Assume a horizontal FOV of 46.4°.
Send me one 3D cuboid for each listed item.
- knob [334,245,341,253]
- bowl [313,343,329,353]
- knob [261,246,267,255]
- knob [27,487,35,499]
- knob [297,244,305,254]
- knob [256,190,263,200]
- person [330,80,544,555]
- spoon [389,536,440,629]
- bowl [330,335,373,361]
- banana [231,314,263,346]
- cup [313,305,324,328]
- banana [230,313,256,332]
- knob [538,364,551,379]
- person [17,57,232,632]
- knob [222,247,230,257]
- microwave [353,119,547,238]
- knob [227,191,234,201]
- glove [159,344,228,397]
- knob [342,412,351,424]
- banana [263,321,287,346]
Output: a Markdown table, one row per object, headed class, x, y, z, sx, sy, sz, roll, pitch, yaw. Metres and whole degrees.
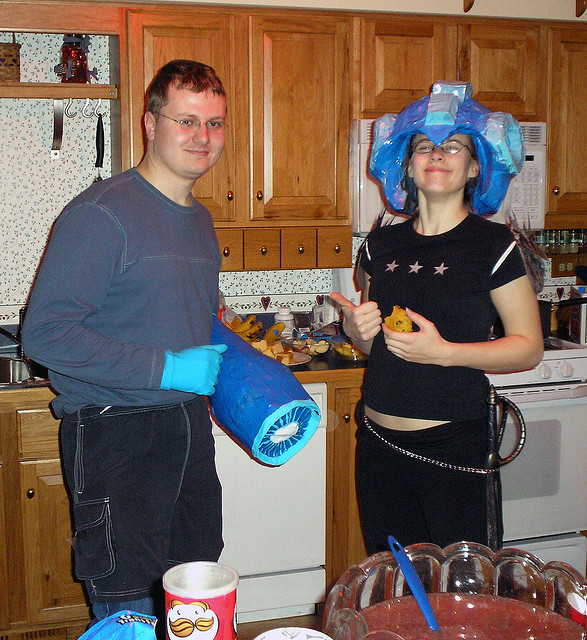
| class | x | y | z | sx | sy | sz | roll | pitch | yaw |
| --- | --- | --- | --- | --- | --- | --- | --- | --- | --- |
| knob | 0.172 | -0.277 | 2.683 | 0.027 | 0.025 | 0.025 | 2 | 0 | -7 |
| bowl | 0.106 | 0.107 | 2.560 | 0.033 | 0.039 | 0.070 | 2 | 5 | 41 |
| knob | -0.112 | -0.264 | 2.603 | 0.022 | 0.027 | 0.008 | -6 | 11 | -15 |
| knob | -0.834 | 0.551 | 2.172 | 0.029 | 0.026 | 0.026 | -3 | 4 | -28 |
| knob | 0.028 | -0.274 | 2.643 | 0.024 | 0.031 | 0.010 | 2 | 5 | -8 |
| knob | -0.128 | -0.469 | 2.570 | 0.021 | 0.027 | 0.009 | 0 | 8 | -19 |
| person | 0.298 | 0.005 | 1.551 | 0.435 | 1.036 | 0.416 | -2 | 4 | -11 |
| spoon | 0.131 | 0.285 | 0.703 | 0.019 | 0.144 | 0.018 | -8 | 20 | 44 |
| bowl | 0.205 | 0.098 | 2.437 | 0.107 | 0.049 | 0.133 | 6 | -1 | -33 |
| banana | -0.171 | 0.041 | 2.635 | 0.114 | 0.113 | 0.048 | -42 | -5 | -28 |
| cup | 0.109 | -0.012 | 2.957 | 0.048 | 0.091 | 0.033 | -1 | 4 | -4 |
| banana | -0.181 | 0.014 | 2.614 | 0.062 | 0.054 | 0.158 | 0 | 4 | 11 |
| knob | 0.903 | 0.188 | 2.461 | 0.038 | 0.047 | 0.051 | -1 | 8 | 24 |
| person | -0.332 | 0.037 | 1.476 | 0.392 | 1.188 | 0.410 | -2 | 4 | -4 |
| knob | -0.254 | -0.255 | 2.561 | 0.030 | 0.038 | 0.010 | 3 | 8 | -9 |
| microwave | 0.861 | -0.621 | 3.143 | 0.461 | 0.496 | 0.807 | -5 | 13 | 15 |
| knob | -0.235 | -0.463 | 2.545 | 0.025 | 0.023 | 0.006 | -38 | 25 | -30 |
| glove | -0.195 | 0.093 | 1.310 | 0.154 | 0.109 | 0.051 | -6 | -18 | -35 |
| knob | 0.183 | 0.348 | 2.412 | 0.027 | 0.034 | 0.034 | 0 | 31 | -1 |
| banana | -0.077 | 0.054 | 2.580 | 0.102 | 0.051 | 0.027 | -48 | 20 | -27 |
